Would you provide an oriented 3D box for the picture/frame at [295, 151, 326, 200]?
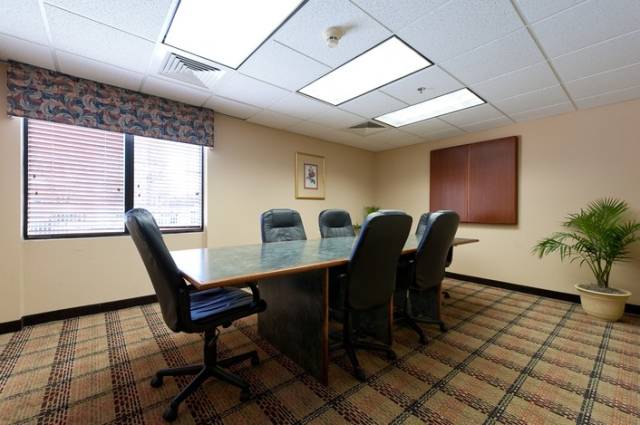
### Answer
[{"bbox_3d":[-0.168,-0.616,6.607,0.184,0.810,0.697,10,14,40],"label":"picture/frame"}]

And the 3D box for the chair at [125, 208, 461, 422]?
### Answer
[{"bbox_3d":[-0.248,1.092,3.846,2.034,0.813,1.143,-2,1,-43],"label":"chair"}]
